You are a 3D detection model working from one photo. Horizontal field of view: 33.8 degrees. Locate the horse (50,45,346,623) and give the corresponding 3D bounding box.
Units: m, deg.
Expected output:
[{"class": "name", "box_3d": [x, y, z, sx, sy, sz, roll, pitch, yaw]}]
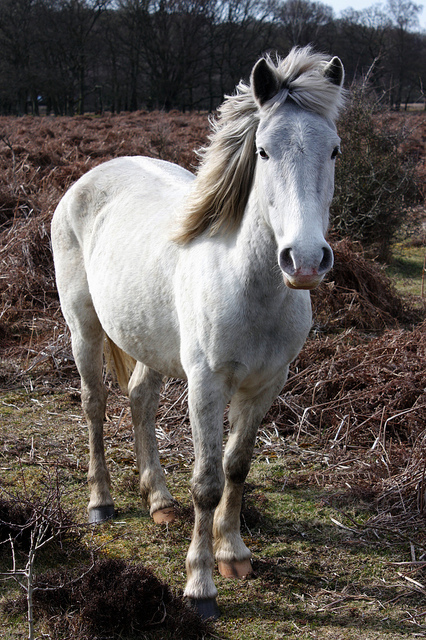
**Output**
[{"class": "horse", "box_3d": [-0.107, -0.032, 3.288, 0.861, 2.342, 1.862, -4, 17, -22]}]
